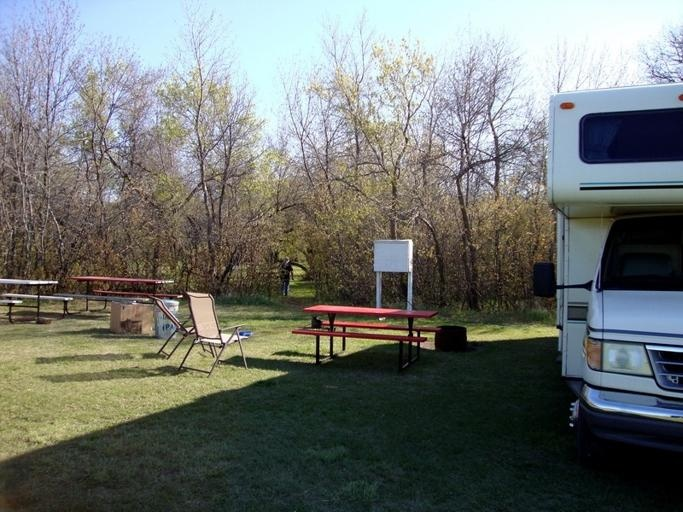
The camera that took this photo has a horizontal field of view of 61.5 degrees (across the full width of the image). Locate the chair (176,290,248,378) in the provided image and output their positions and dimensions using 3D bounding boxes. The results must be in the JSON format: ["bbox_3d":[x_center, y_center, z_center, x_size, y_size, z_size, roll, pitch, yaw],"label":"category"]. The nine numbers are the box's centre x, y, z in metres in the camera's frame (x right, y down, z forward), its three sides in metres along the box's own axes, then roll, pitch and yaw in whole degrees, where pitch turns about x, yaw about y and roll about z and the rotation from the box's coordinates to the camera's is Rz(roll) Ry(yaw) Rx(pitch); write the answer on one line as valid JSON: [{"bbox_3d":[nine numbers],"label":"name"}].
[{"bbox_3d":[-2.242,1.162,9.494,0.992,1.820,1.358,0,-1,34],"label":"chair"}]
